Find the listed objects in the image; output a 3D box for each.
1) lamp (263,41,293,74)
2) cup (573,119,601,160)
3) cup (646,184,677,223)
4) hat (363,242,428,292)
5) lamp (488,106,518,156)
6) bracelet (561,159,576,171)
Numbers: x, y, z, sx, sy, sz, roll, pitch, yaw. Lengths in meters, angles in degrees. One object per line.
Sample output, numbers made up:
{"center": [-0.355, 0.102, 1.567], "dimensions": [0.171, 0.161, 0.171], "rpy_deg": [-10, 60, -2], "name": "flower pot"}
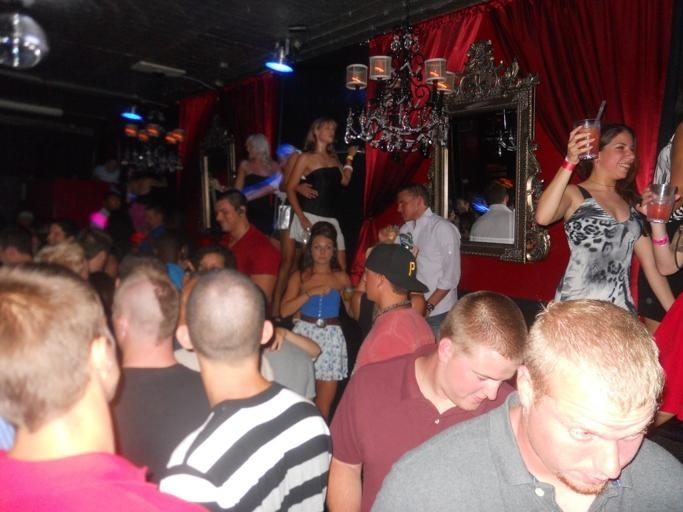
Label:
{"center": [-0.707, -2.308, 6.273], "dimensions": [0.273, 0.302, 0.274], "rpy_deg": [3, 8, -7], "name": "lamp"}
{"center": [1.353, -0.647, 3.048], "dimensions": [0.126, 0.199, 0.330], "rpy_deg": [8, 8, 24], "name": "cup"}
{"center": [1.728, -0.284, 2.996], "dimensions": [0.132, 0.210, 0.202], "rpy_deg": [9, 9, 30], "name": "cup"}
{"center": [0.282, 0.048, 2.881], "dimensions": [0.312, 0.163, 0.204], "rpy_deg": [26, 14, 27], "name": "hat"}
{"center": [1.491, -1.180, 5.113], "dimensions": [0.128, 0.357, 0.269], "rpy_deg": [-8, 5, -41], "name": "lamp"}
{"center": [1.234, -0.498, 3.004], "dimensions": [0.061, 0.046, 0.062], "rpy_deg": [9, -5, 10], "name": "bracelet"}
